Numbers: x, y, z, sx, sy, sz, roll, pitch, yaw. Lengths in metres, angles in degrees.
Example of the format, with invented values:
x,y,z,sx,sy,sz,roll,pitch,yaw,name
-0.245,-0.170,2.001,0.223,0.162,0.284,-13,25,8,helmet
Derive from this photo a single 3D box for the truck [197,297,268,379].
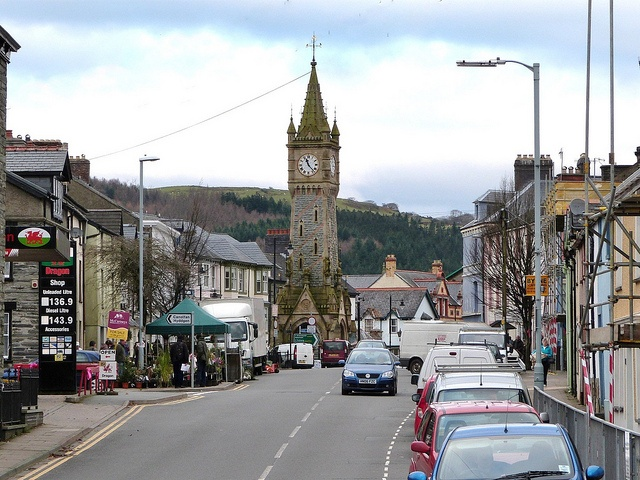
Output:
x,y,z,sx,sy,sz,roll,pitch,yaw,name
-4.129,4.799,59.310,2.828,3.891,11.004,-2,-7,-1,truck

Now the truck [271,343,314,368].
x,y,z,sx,sy,sz,roll,pitch,yaw,name
-1.572,7.150,75.613,1.241,1.256,2.229,0,1,-33,truck

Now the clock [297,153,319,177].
x,y,z,sx,sy,sz,roll,pitch,yaw,name
-1.073,-6.676,111.870,1.866,2.130,0.607,-5,-6,26,clock

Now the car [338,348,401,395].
x,y,z,sx,sy,sz,roll,pitch,yaw,name
1.758,4.807,44.573,1.947,1.766,1.783,-3,-6,0,car

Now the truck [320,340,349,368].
x,y,z,sx,sy,sz,roll,pitch,yaw,name
0.909,7.221,78.119,1.167,1.151,1.904,0,2,7,truck

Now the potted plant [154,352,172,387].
x,y,z,sx,sy,sz,roll,pitch,yaw,name
-6.171,5.132,48.484,0.662,1.359,1.367,-1,-6,-7,potted plant

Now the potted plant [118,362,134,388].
x,y,z,sx,sy,sz,roll,pitch,yaw,name
-7.383,5.095,46.645,0.414,0.953,1.100,-5,-7,28,potted plant

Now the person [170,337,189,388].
x,y,z,sx,sy,sz,roll,pitch,yaw,name
-5.371,4.685,47.119,0.597,1.933,1.406,-1,-6,-8,person

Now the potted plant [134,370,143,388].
x,y,z,sx,sy,sz,roll,pitch,yaw,name
-6.937,5.345,47.192,0.338,0.661,0.654,-1,-6,-10,potted plant
